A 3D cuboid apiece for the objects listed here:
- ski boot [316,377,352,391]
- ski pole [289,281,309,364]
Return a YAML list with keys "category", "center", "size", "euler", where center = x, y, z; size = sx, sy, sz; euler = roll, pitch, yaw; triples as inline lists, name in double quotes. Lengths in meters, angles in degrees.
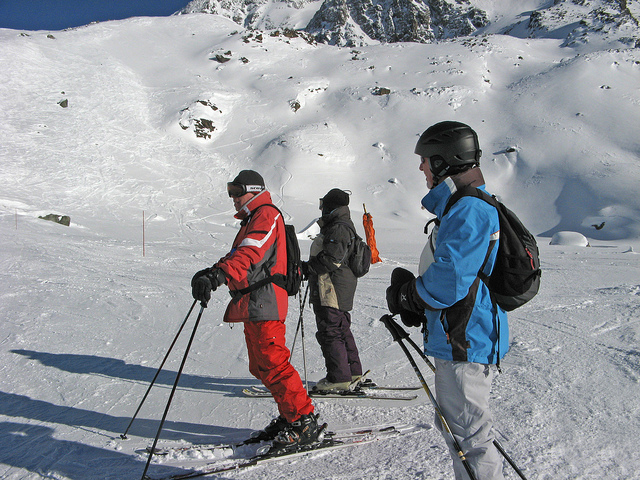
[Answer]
- category: "ski boot"
  center: [0.266, 2.505, 9.814]
  size: [0.650, 0.220, 0.206]
  euler: [4, -15, 3]
- category: "ski pole"
  center: [-0.417, 1.703, 11.244]
  size: [0.042, 1.785, 0.069]
  euler: [13, 15, -18]
